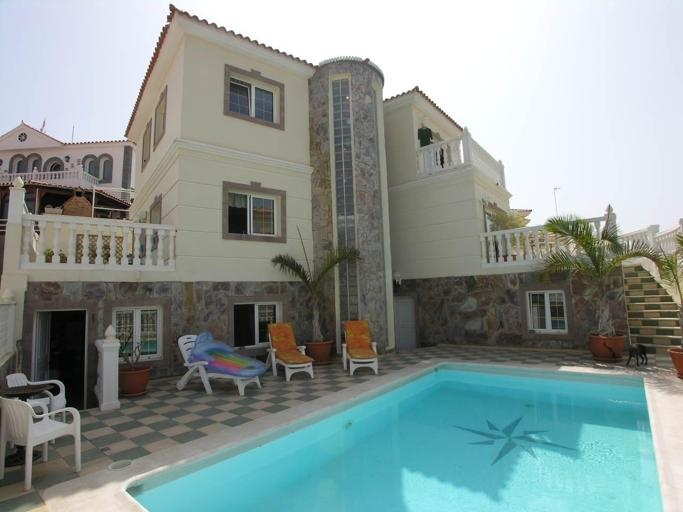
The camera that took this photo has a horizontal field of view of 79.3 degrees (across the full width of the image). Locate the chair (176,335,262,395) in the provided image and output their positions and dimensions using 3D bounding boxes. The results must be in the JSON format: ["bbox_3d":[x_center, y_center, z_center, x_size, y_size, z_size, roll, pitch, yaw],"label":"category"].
[{"bbox_3d":[-2.928,2.553,9.994,1.790,1.218,1.333,2,0,25],"label":"chair"}]

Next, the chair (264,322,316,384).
[{"bbox_3d":[-1.444,2.517,11.171,0.913,1.299,1.598,3,-3,-30],"label":"chair"}]

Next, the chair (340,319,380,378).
[{"bbox_3d":[0.486,2.555,11.589,0.886,1.354,1.512,-1,-5,-5],"label":"chair"}]

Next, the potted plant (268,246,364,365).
[{"bbox_3d":[-0.868,1.504,13.596,2.969,3.629,3.014,-3,-7,-2],"label":"potted plant"}]

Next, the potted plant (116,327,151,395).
[{"bbox_3d":[-5.009,2.597,9.883,0.684,1.316,0.725,-6,-4,22],"label":"potted plant"}]
